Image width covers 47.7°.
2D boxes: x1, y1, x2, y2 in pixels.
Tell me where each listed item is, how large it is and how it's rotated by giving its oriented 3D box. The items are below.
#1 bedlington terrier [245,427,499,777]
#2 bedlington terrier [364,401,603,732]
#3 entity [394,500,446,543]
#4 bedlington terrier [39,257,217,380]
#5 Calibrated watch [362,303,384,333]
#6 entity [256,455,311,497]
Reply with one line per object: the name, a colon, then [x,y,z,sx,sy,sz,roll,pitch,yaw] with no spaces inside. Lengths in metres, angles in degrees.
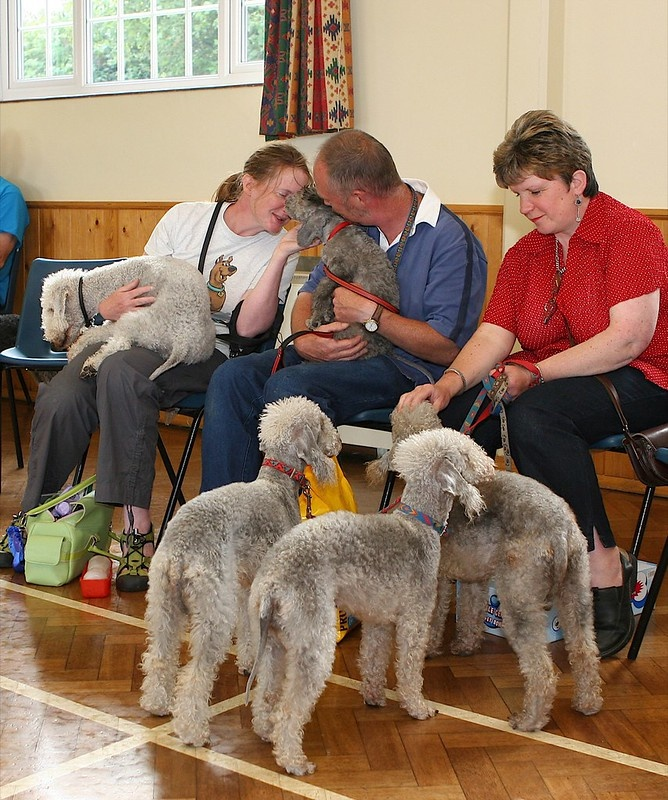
bedlington terrier: [0.024,0.313,1.565,0.476,0.652,0.444,-7,16,-23]
bedlington terrier: [0.347,0.377,1.824,0.235,0.549,0.722,4,1,-26]
entity: [0.180,0.242,1.558,0.094,0.033,0.068,30,-4,-3]
bedlington terrier: [-0.776,-0.319,2.737,0.654,0.308,0.415,14,7,29]
Calibrated watch: [0.116,-0.259,2.309,0.054,0.080,0.076,26,55,9]
entity: [-0.108,0.174,1.716,0.078,0.030,0.100,37,-13,-28]
